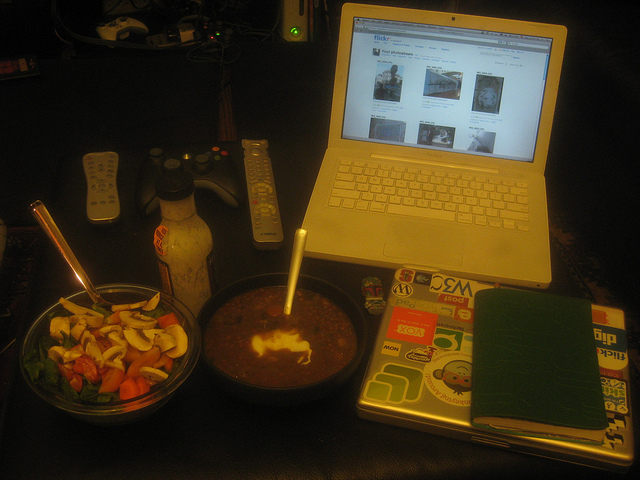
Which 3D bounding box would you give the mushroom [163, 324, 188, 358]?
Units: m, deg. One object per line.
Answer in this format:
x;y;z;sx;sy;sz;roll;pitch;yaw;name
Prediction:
-0.195;0.138;0.720;0.030;0.012;0.040;-7;62;-14;mushroom

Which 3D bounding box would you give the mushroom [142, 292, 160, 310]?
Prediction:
-0.246;0.088;0.759;0.014;0.027;0.006;37;-1;23;mushroom

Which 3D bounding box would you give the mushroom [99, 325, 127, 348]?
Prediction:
-0.281;0.130;0.714;0.034;0.011;0.025;-9;52;-17;mushroom

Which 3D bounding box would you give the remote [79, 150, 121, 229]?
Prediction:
-0.437;-0.103;1.053;0.064;0.042;0.179;-5;56;-20;remote

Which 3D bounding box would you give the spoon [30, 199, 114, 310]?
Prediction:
-0.414;0.027;0.882;0.041;0.193;0.028;-19;17;28;spoon

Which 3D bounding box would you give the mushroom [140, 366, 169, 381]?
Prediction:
-0.222;0.177;0.696;0.023;0.006;0.024;-2;-19;32;mushroom

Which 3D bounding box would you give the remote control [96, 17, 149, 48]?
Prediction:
-0.589;-0.619;1.570;0.145;0.088;0.135;-5;27;-20;remote control

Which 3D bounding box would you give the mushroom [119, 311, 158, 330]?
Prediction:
-0.258;0.111;0.735;0.035;0.010;0.027;28;16;35;mushroom

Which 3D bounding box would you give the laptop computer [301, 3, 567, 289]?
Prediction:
0.227;-0.154;1.151;0.557;0.364;0.552;9;62;3;laptop computer

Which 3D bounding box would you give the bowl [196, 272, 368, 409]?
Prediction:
-0.058;0.153;0.766;0.244;0.151;0.189;9;26;8;bowl

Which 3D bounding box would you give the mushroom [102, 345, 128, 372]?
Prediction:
-0.274;0.156;0.696;0.029;0.026;0.022;4;25;-3;mushroom

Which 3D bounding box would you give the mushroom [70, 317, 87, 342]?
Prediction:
-0.331;0.121;0.718;0.016;0.007;0.028;23;62;-1;mushroom

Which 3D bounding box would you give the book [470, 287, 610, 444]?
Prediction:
0.315;0.176;0.772;0.177;0.117;0.204;9;26;8;book

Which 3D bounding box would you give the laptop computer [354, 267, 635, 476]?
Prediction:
0.270;0.186;0.801;0.378;0.134;0.257;11;26;12;laptop computer

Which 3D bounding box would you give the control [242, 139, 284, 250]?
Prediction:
-0.112;-0.110;1.080;0.060;0.039;0.280;0;49;-12;control

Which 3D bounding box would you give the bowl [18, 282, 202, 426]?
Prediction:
-0.257;0.167;0.725;0.213;0.085;0.210;4;47;-4;bowl

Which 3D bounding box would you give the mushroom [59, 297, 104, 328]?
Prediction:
-0.330;0.101;0.748;0.076;0.025;0.033;17;67;1;mushroom

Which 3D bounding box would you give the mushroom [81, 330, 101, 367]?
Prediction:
-0.307;0.145;0.697;0.045;0.016;0.011;51;5;30;mushroom
